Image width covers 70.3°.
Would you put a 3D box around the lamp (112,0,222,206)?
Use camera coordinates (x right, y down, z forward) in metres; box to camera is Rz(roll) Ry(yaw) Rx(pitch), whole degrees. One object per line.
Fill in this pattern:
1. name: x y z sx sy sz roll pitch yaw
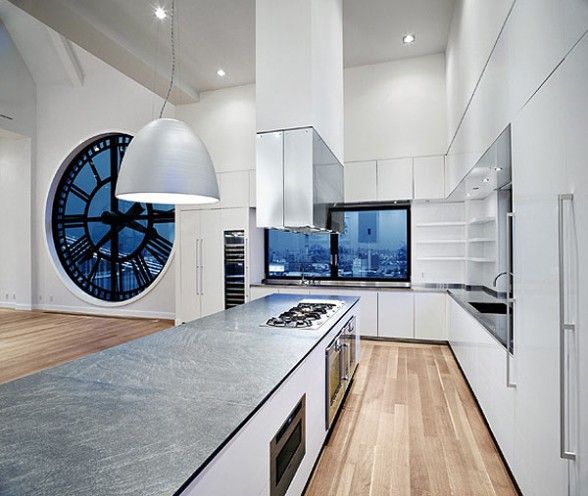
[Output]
1. lamp: -0.859 -1.109 2.934 0.601 1.604 1.452 1 7 -15

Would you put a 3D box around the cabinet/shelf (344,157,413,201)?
1. cabinet/shelf: 1.115 -0.896 5.493 0.880 0.578 0.249 4 7 8

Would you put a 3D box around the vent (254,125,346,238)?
1. vent: -0.078 -0.503 3.823 0.393 0.784 1.182 -2 -4 -1
